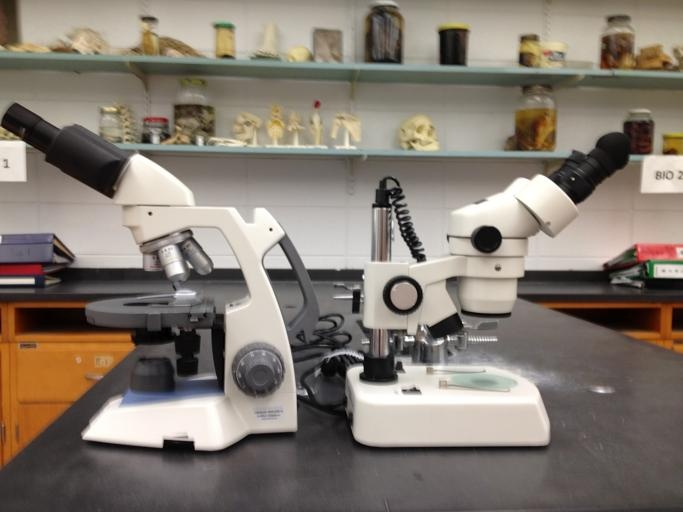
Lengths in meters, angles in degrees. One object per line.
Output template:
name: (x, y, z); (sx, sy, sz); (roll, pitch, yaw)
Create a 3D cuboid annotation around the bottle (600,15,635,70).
bottle: (1.296, -0.996, 2.835); (0.161, 0.281, 0.159); (2, 0, 0)

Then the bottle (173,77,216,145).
bottle: (-0.686, -0.678, 2.745); (0.176, 0.324, 0.118); (1, 6, -2)

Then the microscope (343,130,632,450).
microscope: (0.304, 0.063, 1.253); (0.622, 0.601, 0.270); (-4, 12, -2)
